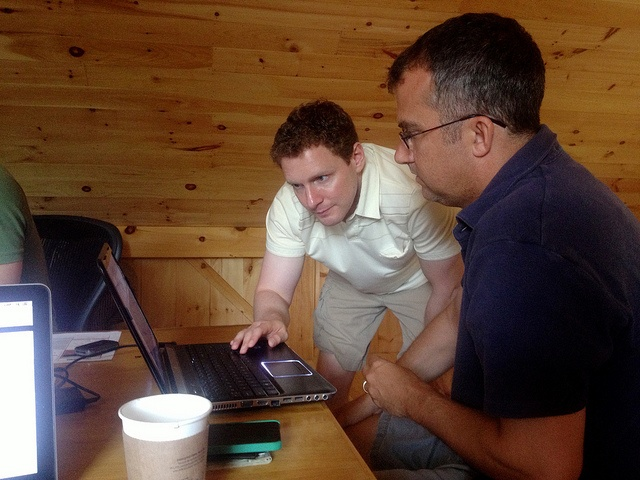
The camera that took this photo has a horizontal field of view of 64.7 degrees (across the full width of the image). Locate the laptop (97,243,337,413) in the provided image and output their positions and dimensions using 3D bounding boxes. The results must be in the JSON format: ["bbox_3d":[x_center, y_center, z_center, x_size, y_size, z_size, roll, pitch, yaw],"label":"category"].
[{"bbox_3d":[-0.221,0.102,1.238,0.496,0.313,0.530,-5,11,-18],"label":"laptop"}]

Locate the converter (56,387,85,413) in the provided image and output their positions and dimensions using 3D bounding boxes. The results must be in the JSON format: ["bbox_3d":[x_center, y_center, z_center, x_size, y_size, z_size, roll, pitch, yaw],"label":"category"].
[{"bbox_3d":[-0.549,0.354,1.143,0.051,0.049,0.091,12,-9,-25],"label":"converter"}]
